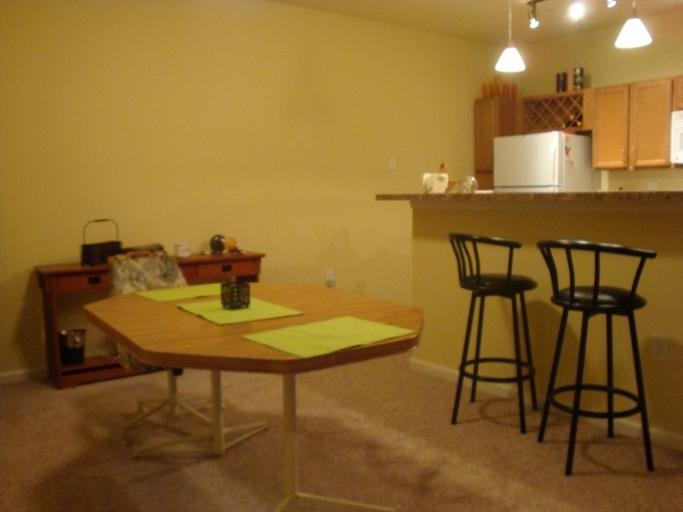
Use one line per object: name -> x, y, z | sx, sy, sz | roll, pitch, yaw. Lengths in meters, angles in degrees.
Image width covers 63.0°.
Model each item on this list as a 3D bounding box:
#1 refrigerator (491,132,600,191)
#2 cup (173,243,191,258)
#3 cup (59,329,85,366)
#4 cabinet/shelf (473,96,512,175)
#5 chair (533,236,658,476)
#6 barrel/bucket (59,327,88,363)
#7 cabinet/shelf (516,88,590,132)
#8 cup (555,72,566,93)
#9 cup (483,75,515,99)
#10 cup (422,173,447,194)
refrigerator -> 1.848, -0.932, 6.003 | 0.840, 0.606, 0.875 | -2, 1, -10
cup -> -1.293, -0.041, 4.524 | 0.114, 0.085, 0.111 | 3, -1, 0
cup -> -2.024, 0.691, 4.170 | 0.187, 0.221, 0.187 | 1, -1, 0
cabinet/shelf -> 1.745, -1.372, 6.398 | 0.293, 0.842, 0.342 | -7, 9, -33
chair -> 1.433, 0.475, 3.134 | 0.682, 1.209, 0.894 | 4, 13, 19
barrel/bucket -> -1.999, 0.688, 4.221 | 0.208, 0.238, 0.215 | -1, -3, 0
cabinet/shelf -> 2.308, -1.544, 6.068 | 0.671, 0.406, 0.118 | 0, 6, 24
cup -> 2.391, -1.869, 6.042 | 0.122, 0.218, 0.319 | 4, 13, 20
cup -> 1.778, -1.884, 6.286 | 0.303, 0.278, 0.300 | 2, -2, 0
cup -> 0.681, -0.529, 4.131 | 0.188, 0.139, 0.177 | 2, 8, 0
